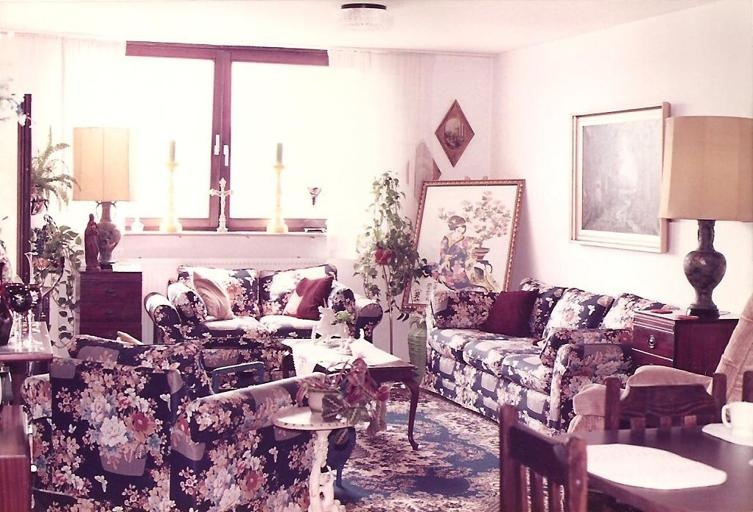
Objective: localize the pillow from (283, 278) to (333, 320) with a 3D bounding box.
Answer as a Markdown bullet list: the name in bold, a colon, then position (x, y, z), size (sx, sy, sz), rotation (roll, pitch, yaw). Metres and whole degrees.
- **pillow**: position (-0.685, 0.416, 6.357), size (0.455, 0.430, 0.139), rotation (-2, -28, 43)

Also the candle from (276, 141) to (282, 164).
- **candle**: position (-1.122, -1.179, 7.100), size (0.067, 0.239, 0.153), rotation (0, 6, -2)

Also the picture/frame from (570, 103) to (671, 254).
- **picture/frame**: position (2.236, -0.721, 5.783), size (0.145, 1.291, 1.204), rotation (-3, 7, -24)

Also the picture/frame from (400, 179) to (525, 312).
- **picture/frame**: position (0.981, -0.084, 6.845), size (1.357, 1.719, 0.127), rotation (7, -10, 21)

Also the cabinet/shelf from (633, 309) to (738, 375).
- **cabinet/shelf**: position (2.203, 0.572, 4.499), size (0.499, 0.479, 0.489), rotation (2, 4, -7)

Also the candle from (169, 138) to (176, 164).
- **candle**: position (-2.265, -1.163, 6.882), size (0.071, 0.258, 0.230), rotation (-2, 6, -14)

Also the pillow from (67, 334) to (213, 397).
- **pillow**: position (-1.186, 0.550, 3.082), size (0.750, 0.268, 0.180), rotation (2, 7, 17)

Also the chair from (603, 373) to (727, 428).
- **chair**: position (1.216, 0.617, 2.636), size (0.572, 0.242, 0.145), rotation (-1, 6, -6)

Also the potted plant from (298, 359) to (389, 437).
- **potted plant**: position (-0.165, 0.748, 3.241), size (0.323, 0.275, 0.527), rotation (2, -10, 7)
